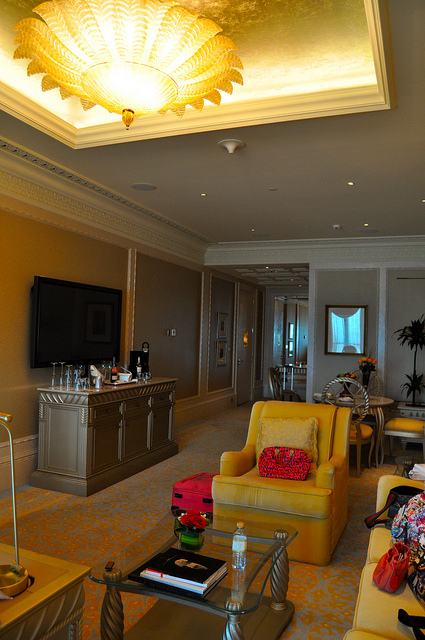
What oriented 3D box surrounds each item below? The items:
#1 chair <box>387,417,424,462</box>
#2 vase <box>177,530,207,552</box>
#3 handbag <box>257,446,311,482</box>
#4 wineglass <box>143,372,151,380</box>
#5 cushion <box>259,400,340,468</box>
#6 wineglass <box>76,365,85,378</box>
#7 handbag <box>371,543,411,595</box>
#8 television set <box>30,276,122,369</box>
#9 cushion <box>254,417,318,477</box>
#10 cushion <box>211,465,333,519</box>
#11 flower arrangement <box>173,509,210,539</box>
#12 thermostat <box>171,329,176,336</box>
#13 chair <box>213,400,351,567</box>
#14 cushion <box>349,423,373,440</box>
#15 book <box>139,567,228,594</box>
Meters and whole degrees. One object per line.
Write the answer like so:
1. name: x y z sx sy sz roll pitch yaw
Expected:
1. chair: 2.618 1.611 5.560 0.440 0.385 0.444 1 6 7
2. vase: -0.100 0.988 1.873 0.082 0.081 0.084 2 1 39
3. handbag: 0.518 1.046 2.974 0.276 0.083 0.216 1 12 16
4. wineglass: -0.863 0.722 5.314 0.099 0.086 0.123 3 -6 -11
5. cushion: 0.692 0.903 3.170 0.378 0.338 0.133 6 -26 25
6. wineglass: -1.507 0.564 4.644 0.116 0.165 0.039 2 1 -32
7. handbag: 0.710 0.948 1.584 0.105 0.131 0.190 4 11 37
8. television set: -1.527 0.044 4.627 0.132 0.953 1.438 -1 -3 22
9. cushion: 0.582 0.966 3.091 0.380 0.361 0.129 -1 -17 23
10. cushion: 0.528 1.250 3.017 1.062 0.195 1.070 5 -11 -10
11. flower arrangement: -0.091 0.953 1.948 0.136 0.070 0.136 -5 12 -39
12. thermostat: -0.670 0.203 6.900 0.027 0.113 0.202 0 -6 14
13. chair: 0.561 1.154 3.065 0.773 0.954 1.001 -2 -10 23
14. cushion: 1.830 1.323 4.884 0.217 0.044 0.219 -2 6 13
15. book: -0.109 0.960 1.561 0.276 0.028 0.220 -1 -7 24
